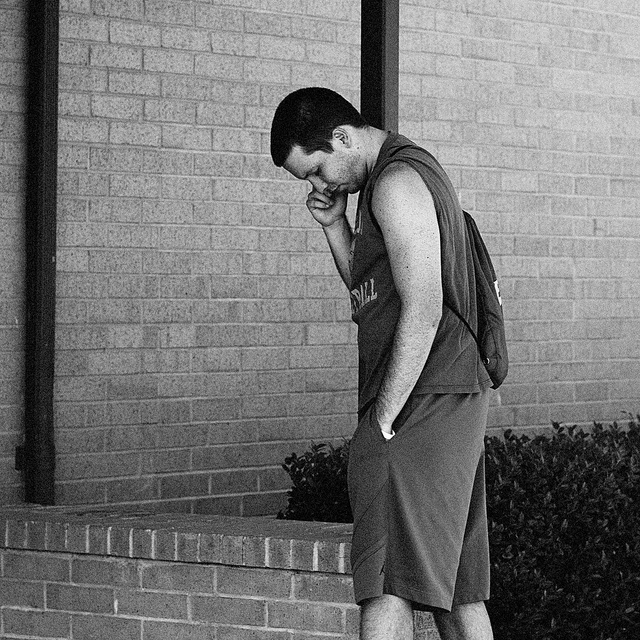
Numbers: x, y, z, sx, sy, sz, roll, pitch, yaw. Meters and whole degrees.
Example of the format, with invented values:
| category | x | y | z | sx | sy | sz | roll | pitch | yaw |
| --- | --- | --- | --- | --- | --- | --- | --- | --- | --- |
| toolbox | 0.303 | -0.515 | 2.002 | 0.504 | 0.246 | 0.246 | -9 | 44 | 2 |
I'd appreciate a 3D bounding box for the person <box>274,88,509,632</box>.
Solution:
| category | x | y | z | sx | sy | sz | roll | pitch | yaw |
| --- | --- | --- | --- | --- | --- | --- | --- | --- | --- |
| person | 0.233 | 0.070 | 3.181 | 0.588 | 1.480 | 0.597 | -2 | 10 | 10 |
